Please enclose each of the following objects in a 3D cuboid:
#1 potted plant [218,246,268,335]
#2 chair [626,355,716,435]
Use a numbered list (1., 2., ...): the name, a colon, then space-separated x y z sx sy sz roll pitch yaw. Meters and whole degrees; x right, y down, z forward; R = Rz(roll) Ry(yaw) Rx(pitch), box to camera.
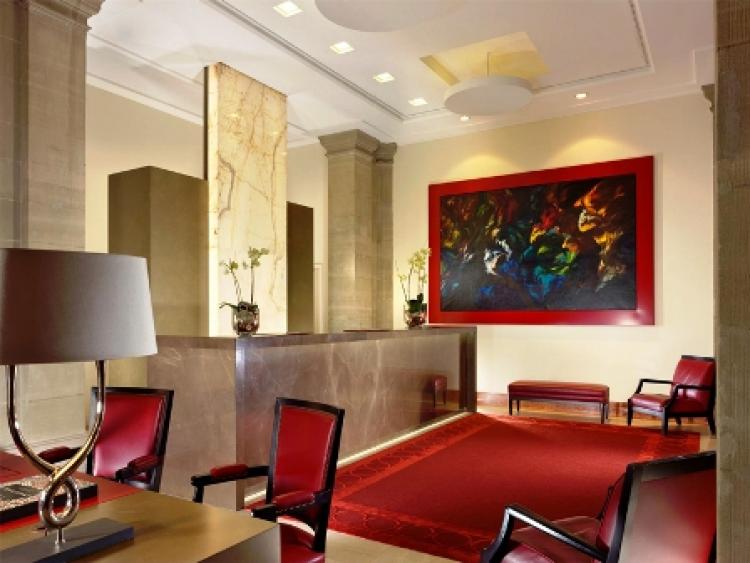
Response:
1. potted plant: -1.212 0.118 4.952 0.493 0.720 0.502 -2 2 -41
2. chair: 3.883 1.436 7.214 0.795 0.969 0.787 3 -3 -13
